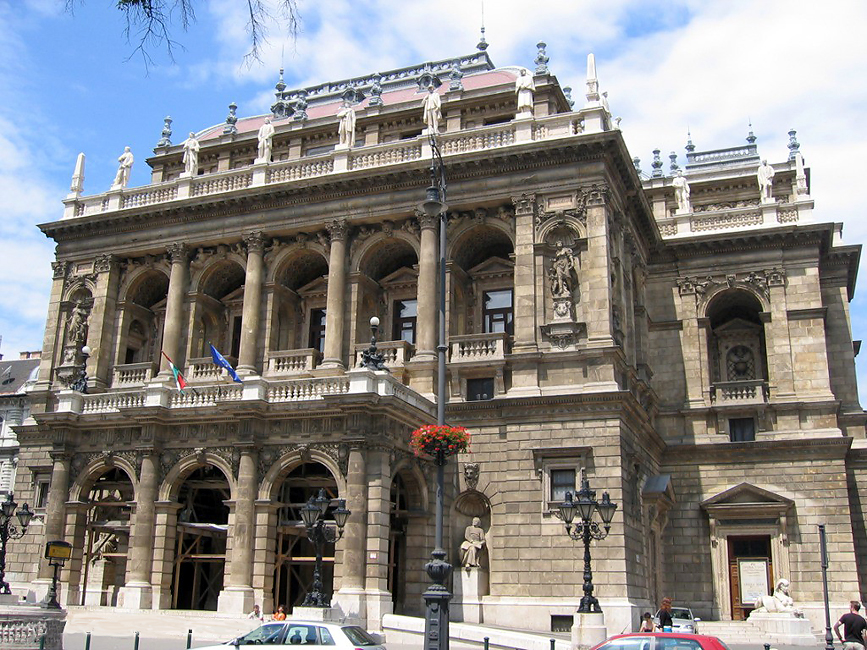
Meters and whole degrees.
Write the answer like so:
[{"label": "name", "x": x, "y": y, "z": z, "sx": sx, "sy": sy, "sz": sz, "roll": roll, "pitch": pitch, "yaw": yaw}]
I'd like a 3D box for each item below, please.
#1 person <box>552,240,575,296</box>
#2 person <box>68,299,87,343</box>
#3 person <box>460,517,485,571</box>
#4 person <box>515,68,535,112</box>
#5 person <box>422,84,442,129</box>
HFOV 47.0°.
[{"label": "person", "x": 6.800, "y": -2.898, "z": 52.243, "sx": 1.320, "sy": 3.027, "sz": 0.629, "roll": -2, "pitch": -22, "yaw": 5}, {"label": "person", "x": -21.706, "y": -0.286, "z": 60.877, "sx": 1.025, "sy": 3.033, "sz": 0.703, "roll": -14, "pitch": -25, "yaw": 30}, {"label": "person", "x": 2.016, "y": 10.924, "z": 50.524, "sx": 1.343, "sy": 2.688, "sz": 0.842, "roll": 2, "pitch": -22, "yaw": -7}, {"label": "person", "x": 5.081, "y": -12.900, "z": 55.156, "sx": 0.955, "sy": 2.712, "sz": 0.782, "roll": 0, "pitch": -13, "yaw": 7}, {"label": "person", "x": -0.162, "y": -12.169, "z": 56.088, "sx": 0.995, "sy": 2.671, "sz": 0.686, "roll": -1, "pitch": -19, "yaw": -2}]
